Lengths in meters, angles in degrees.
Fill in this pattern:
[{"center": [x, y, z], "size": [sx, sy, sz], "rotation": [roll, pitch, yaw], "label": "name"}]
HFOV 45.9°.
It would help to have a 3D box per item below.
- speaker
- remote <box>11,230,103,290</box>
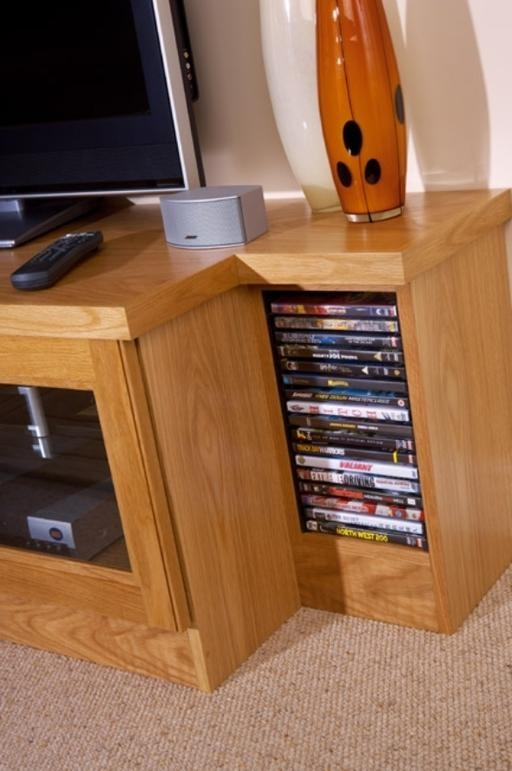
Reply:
[{"center": [-0.060, -0.213, 0.778], "size": [0.105, 0.056, 0.107], "rotation": [4, 31, 28], "label": "speaker"}, {"center": [-0.250, -0.169, 0.781], "size": [0.052, 0.038, 0.170], "rotation": [3, 27, 18], "label": "remote"}]
